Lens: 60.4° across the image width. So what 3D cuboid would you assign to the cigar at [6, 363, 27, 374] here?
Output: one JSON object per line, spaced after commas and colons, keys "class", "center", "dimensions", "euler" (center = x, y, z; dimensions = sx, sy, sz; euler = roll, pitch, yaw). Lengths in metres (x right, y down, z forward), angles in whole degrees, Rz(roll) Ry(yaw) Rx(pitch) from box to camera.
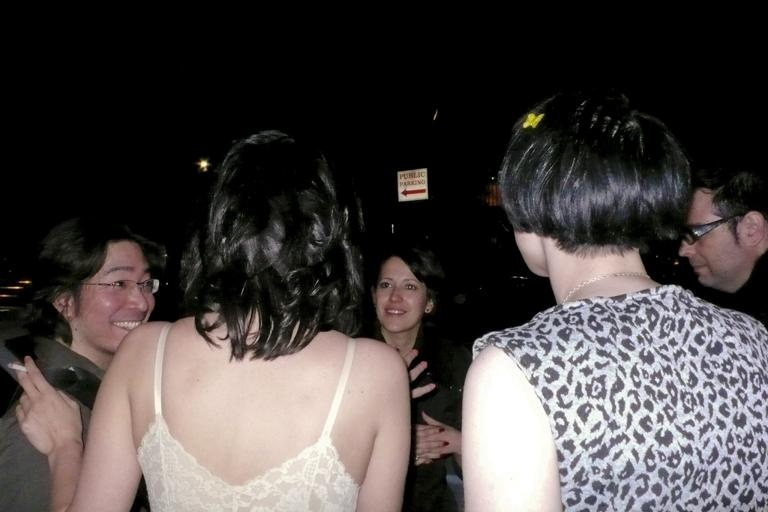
{"class": "cigar", "center": [-2.400, 0.728, 4.299], "dimensions": [0.138, 0.081, 0.038], "euler": [13, 52, 41]}
